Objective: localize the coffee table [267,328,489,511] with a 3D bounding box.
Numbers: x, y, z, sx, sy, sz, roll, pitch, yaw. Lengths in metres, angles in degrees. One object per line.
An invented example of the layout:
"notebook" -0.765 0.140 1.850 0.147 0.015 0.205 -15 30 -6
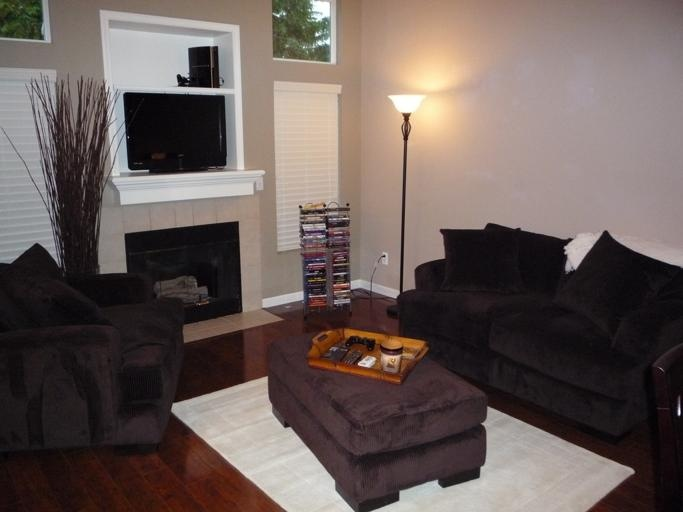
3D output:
"coffee table" 0.274 1.070 3.016 0.754 0.551 1.088 -6 14 -26

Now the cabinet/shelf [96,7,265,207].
"cabinet/shelf" -1.497 -1.355 4.718 1.539 1.936 0.939 -8 15 -34

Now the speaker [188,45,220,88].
"speaker" -1.283 -1.711 4.912 0.247 0.421 0.226 12 25 24

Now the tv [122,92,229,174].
"tv" -1.468 -1.111 4.730 0.869 0.652 0.221 -6 15 -18

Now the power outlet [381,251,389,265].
"power outlet" 0.495 0.017 5.901 0.145 0.209 0.021 2 1 45

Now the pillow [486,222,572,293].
"pillow" 1.597 0.039 4.281 0.520 0.427 0.125 6 -4 37

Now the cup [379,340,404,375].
"cup" 0.281 0.581 3.056 0.155 0.231 0.150 1 6 0
